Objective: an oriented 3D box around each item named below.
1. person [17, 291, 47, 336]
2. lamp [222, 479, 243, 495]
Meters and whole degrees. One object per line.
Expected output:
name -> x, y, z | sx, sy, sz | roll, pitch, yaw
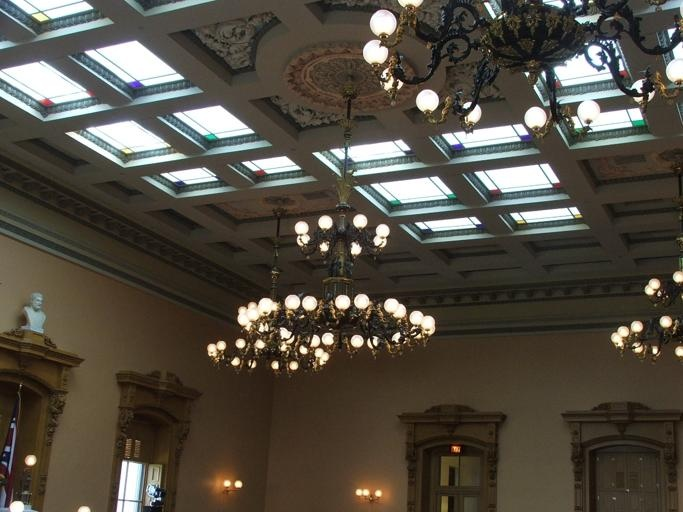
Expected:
person -> -4.860, 0.891, 12.612 | 0.381, 0.715, 0.243 | 13, -27, -22
lamp -> -2.234, 4.737, 16.373 | 0.297, 0.247, 0.394 | -25, -31, 28
